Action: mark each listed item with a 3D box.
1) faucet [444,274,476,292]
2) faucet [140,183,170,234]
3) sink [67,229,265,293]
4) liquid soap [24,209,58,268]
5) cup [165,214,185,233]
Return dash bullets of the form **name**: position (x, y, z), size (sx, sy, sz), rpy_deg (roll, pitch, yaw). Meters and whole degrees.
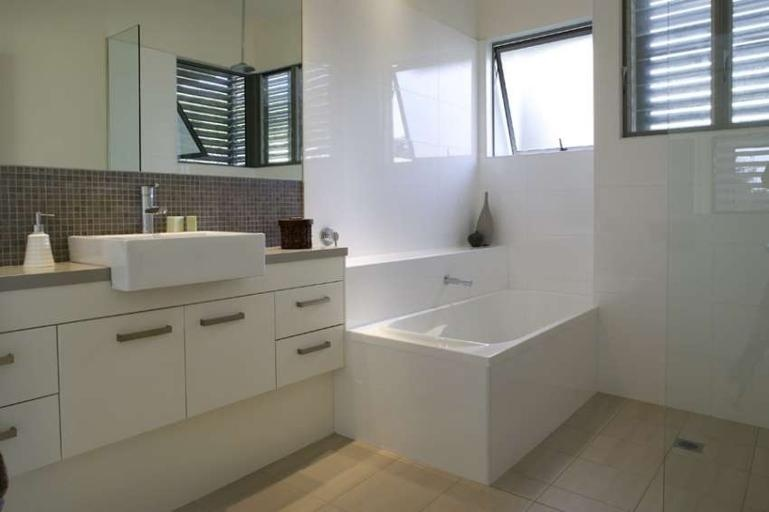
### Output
- **faucet**: position (0.554, 0.200, 4.172), size (0.198, 0.105, 0.117), rpy_deg (3, 10, -23)
- **faucet**: position (-1.255, -0.258, 2.911), size (0.121, 0.263, 0.156), rpy_deg (-8, 10, -24)
- **sink**: position (-1.119, -0.023, 2.698), size (0.498, 0.305, 0.819), rpy_deg (3, 3, 33)
- **liquid soap**: position (-1.614, -0.078, 2.517), size (0.156, 0.260, 0.329), rpy_deg (-10, 11, -31)
- **cup**: position (-1.165, -0.176, 2.999), size (0.080, 0.111, 0.111), rpy_deg (-3, 5, -40)
